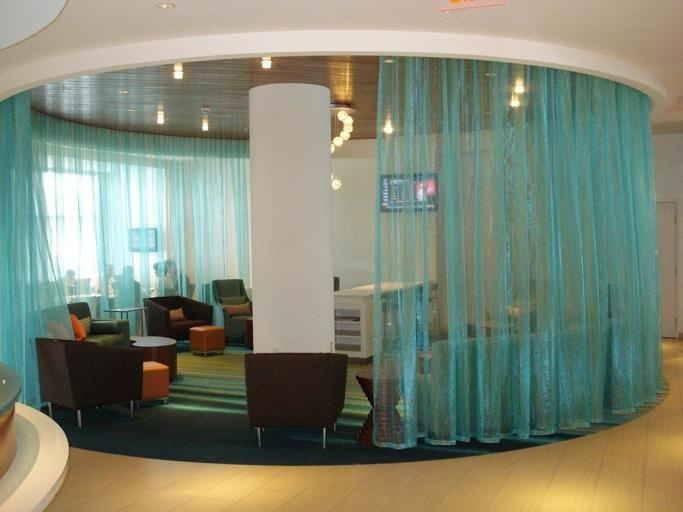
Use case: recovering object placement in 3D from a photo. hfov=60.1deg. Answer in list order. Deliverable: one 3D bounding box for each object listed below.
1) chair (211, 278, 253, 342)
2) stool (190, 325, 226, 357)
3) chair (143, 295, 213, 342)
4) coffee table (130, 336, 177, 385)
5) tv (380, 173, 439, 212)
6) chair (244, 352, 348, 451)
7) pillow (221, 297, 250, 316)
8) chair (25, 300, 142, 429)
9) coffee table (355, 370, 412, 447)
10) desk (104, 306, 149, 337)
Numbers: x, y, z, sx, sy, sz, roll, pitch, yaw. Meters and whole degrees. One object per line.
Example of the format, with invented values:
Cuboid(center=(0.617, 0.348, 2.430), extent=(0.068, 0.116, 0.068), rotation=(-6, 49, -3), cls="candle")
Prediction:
Cuboid(center=(-1.970, 1.053, 11.131), extent=(0.801, 1.269, 1.089), rotation=(-4, -5, -29), cls="chair")
Cuboid(center=(-2.244, 1.411, 9.945), extent=(0.500, 0.492, 0.488), rotation=(0, -3, 13), cls="stool")
Cuboid(center=(-2.988, 1.175, 10.670), extent=(0.937, 0.849, 0.917), rotation=(1, 2, 44), cls="chair")
Cuboid(center=(-2.525, 1.355, 8.175), extent=(0.684, 0.439, 0.677), rotation=(-1, 0, 28), cls="coffee table")
Cuboid(center=(0.670, -0.622, 5.795), extent=(0.551, 0.341, 0.027), rotation=(1, -7, 5), cls="tv")
Cuboid(center=(-0.438, 1.387, 6.093), extent=(0.923, 0.957, 0.933), rotation=(0, -1, 2), cls="chair")
Cuboid(center=(-1.974, 0.949, 11.120), extent=(0.548, 0.292, 0.691), rotation=(0, 4, -12), cls="pillow")
Cuboid(center=(-2.922, 1.293, 6.872), extent=(0.971, 1.033, 1.013), rotation=(2, 4, 43), cls="chair")
Cuboid(center=(0.404, 1.527, 5.924), extent=(0.478, 0.533, 0.481), rotation=(0, -4, -4), cls="coffee table")
Cuboid(center=(-3.731, 1.054, 10.501), extent=(0.556, 0.709, 0.742), rotation=(1, 1, 13), cls="desk")
